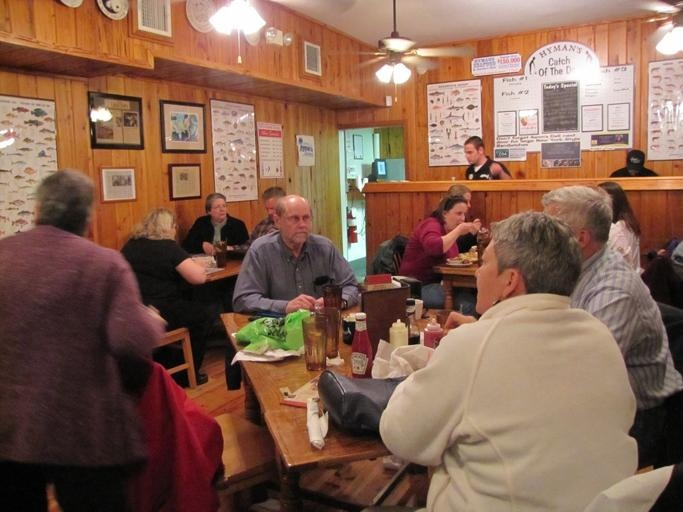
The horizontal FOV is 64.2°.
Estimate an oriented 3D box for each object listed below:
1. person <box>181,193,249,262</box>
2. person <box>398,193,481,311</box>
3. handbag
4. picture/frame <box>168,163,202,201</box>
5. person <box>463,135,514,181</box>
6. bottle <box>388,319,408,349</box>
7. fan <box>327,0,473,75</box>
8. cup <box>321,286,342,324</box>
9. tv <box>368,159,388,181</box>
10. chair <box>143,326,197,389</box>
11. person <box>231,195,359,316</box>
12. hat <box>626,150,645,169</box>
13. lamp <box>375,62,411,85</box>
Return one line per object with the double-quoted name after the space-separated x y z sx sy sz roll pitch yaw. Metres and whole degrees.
-1.287 -0.285 5.581 0.806 0.790 0.586 -2 4 -27 "person"
0.851 0.000 4.578 0.612 1.029 0.634 2 11 -15 "person"
0.077 0.468 1.811 0.310 0.103 0.274 2 7 -30 "handbag"
-1.561 -0.749 5.456 0.030 0.367 0.432 1 7 29 "picture/frame"
1.650 -1.142 6.407 0.386 0.548 0.705 -19 13 -22 "person"
0.229 0.314 2.180 0.085 0.151 0.086 0 -2 0 "bottle"
0.630 -2.426 5.941 0.960 0.694 1.072 -9 20 -15 "fan"
-0.031 0.230 2.585 0.109 0.177 0.110 1 -7 0 "cup"
0.642 -1.553 9.781 0.243 0.457 0.458 4 6 39 "tv"
-1.229 0.771 3.975 0.363 0.399 0.372 -22 -15 41 "chair"
-0.248 0.026 3.118 0.788 0.716 0.548 -4 6 -31 "person"
3.219 -1.068 5.952 0.146 0.112 0.219 12 36 20 "hat"
0.433 -1.546 4.566 0.240 0.167 0.281 -3 6 -3 "lamp"
